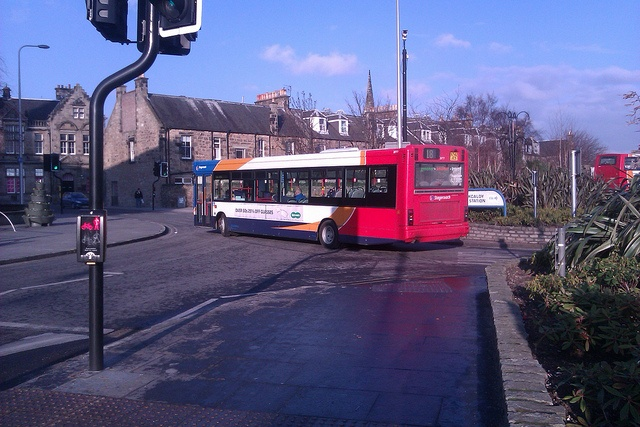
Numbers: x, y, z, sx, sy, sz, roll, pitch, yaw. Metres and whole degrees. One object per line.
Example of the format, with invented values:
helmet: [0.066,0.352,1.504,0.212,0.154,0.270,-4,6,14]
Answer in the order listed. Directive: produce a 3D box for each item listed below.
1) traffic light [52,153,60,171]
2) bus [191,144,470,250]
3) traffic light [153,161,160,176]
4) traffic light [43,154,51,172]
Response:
traffic light: [-15.103,-2.902,34.429,0.348,0.875,0.490,-3,9,-16]
bus: [-0.186,-0.569,21.655,3.305,3.158,10.880,0,3,-42]
traffic light: [-9.721,-2.641,36.044,0.269,0.748,0.858,-4,9,-23]
traffic light: [-15.429,-2.889,34.271,0.402,0.924,1.129,-5,10,-27]
